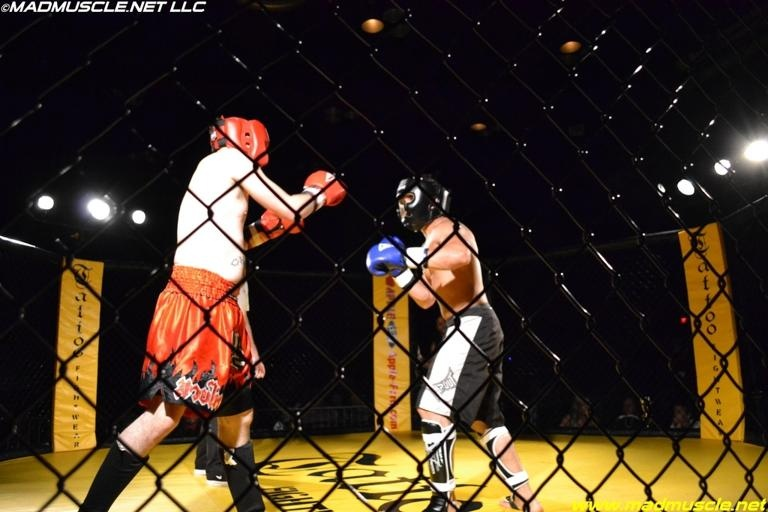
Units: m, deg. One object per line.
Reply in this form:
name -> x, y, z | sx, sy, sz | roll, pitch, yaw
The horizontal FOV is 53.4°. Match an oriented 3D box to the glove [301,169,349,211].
glove -> -0.460, -0.465, 5.326 | 0.295, 0.280, 0.243 | 5, 17, 41

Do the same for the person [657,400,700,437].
person -> 3.179, 1.728, 8.217 | 0.361, 0.379, 0.920 | -8, -17, 20
